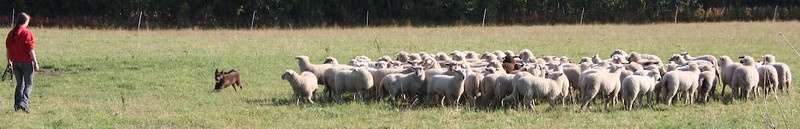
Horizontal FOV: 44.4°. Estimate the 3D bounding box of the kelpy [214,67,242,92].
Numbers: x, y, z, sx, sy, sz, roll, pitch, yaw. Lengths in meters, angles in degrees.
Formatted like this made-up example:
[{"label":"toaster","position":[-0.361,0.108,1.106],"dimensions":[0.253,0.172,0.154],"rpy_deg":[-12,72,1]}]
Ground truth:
[{"label":"kelpy","position":[-51.341,4.635,295.935],"dimensions":[6.431,7.228,6.407],"rpy_deg":[1,1,-24]}]
